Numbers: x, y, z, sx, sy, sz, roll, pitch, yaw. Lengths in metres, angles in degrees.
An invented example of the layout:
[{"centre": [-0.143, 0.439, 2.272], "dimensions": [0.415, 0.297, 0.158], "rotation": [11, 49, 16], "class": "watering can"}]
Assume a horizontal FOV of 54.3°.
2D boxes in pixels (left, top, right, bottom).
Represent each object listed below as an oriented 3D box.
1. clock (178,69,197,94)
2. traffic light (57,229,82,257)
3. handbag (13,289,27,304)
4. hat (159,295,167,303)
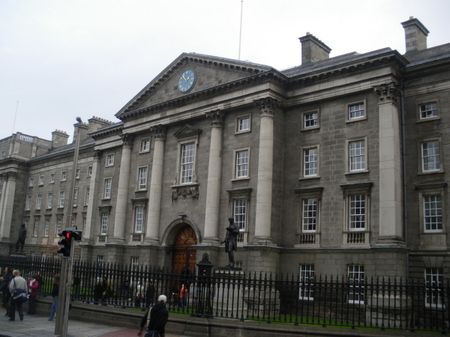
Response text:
[{"centre": [-3.426, -7.994, 40.077], "dimensions": [0.062, 2.226, 2.269], "rotation": [28, 33, 29], "class": "clock"}, {"centre": [-7.125, 3.416, 20.249], "dimensions": [0.955, 1.263, 0.838], "rotation": [6, -17, -19], "class": "traffic light"}, {"centre": [-11.077, 6.949, 23.834], "dimensions": [0.850, 0.821, 0.613], "rotation": [-22, -30, 31], "class": "handbag"}, {"centre": [-2.430, 5.074, 17.250], "dimensions": [0.386, 0.292, 0.516], "rotation": [2, -10, -1], "class": "hat"}]
